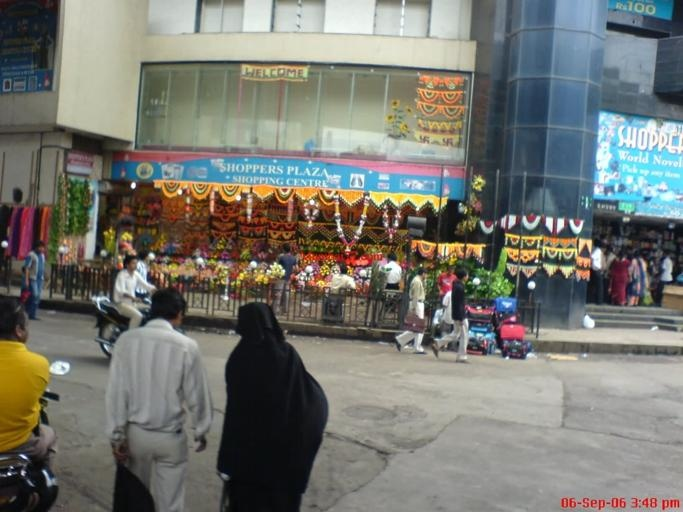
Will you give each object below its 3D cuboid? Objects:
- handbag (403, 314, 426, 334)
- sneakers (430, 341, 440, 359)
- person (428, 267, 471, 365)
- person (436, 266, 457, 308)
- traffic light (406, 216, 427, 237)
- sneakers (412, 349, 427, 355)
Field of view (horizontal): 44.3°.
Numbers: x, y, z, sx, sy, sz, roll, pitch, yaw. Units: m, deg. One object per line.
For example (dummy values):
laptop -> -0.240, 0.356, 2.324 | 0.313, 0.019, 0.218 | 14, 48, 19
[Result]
handbag -> 1.662, 1.545, 19.141 | 0.436, 0.486, 0.205 | 8, -4, 10
sneakers -> 2.117, 2.046, 18.894 | 0.159, 0.460, 0.143 | 7, -35, -19
person -> 2.507, 1.307, 18.874 | 0.842, 2.114, 0.732 | 3, -1, 16
person -> 2.628, 0.858, 21.377 | 0.439, 1.427, 0.324 | 5, 37, 6
traffic light -> 1.852, -0.719, 20.867 | 0.427, 0.546, 0.703 | 3, 11, 1
sneakers -> 1.812, 2.198, 19.308 | 0.291, 0.150, 0.109 | 1, 1, -2
